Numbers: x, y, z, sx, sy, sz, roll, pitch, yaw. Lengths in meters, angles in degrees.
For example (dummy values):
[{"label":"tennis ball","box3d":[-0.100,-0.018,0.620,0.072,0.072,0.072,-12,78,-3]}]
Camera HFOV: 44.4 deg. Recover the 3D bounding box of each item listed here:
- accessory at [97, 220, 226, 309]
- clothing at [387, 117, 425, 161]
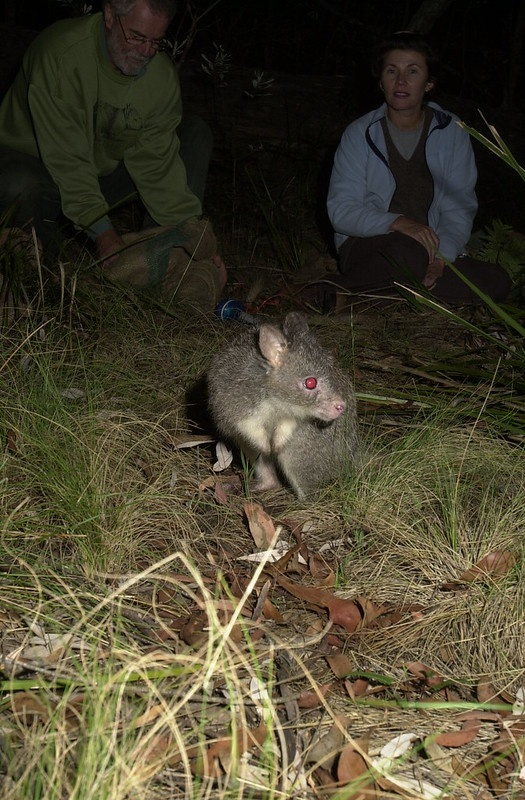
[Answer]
[{"label":"accessory","box3d":[-0.685,-0.976,4.870,0.587,0.435,0.901,48,28,1]},{"label":"clothing","box3d":[1.142,-2.081,5.153,0.198,0.330,0.176,-2,33,12]}]
